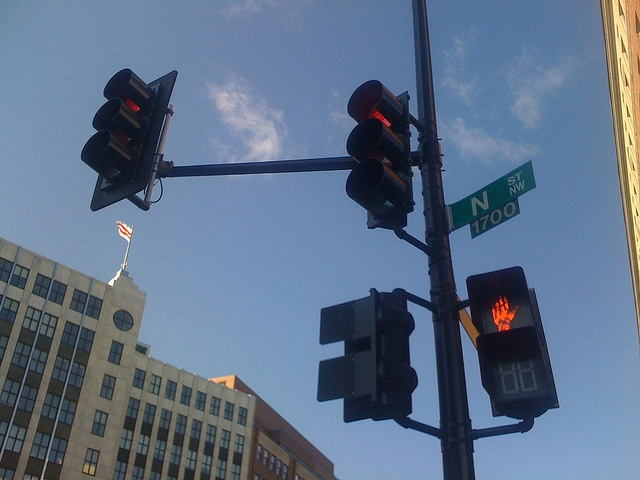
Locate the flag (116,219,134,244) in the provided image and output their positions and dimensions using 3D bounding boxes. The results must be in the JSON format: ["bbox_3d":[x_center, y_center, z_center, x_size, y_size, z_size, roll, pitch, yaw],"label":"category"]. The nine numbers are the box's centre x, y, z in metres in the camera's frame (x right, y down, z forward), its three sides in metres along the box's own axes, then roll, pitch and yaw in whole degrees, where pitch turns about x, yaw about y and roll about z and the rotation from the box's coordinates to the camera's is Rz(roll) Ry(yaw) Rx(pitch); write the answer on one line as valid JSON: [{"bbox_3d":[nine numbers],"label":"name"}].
[{"bbox_3d":[-20.103,-0.887,64.217,0.328,2.601,2.041,-8,-12,34],"label":"flag"}]
